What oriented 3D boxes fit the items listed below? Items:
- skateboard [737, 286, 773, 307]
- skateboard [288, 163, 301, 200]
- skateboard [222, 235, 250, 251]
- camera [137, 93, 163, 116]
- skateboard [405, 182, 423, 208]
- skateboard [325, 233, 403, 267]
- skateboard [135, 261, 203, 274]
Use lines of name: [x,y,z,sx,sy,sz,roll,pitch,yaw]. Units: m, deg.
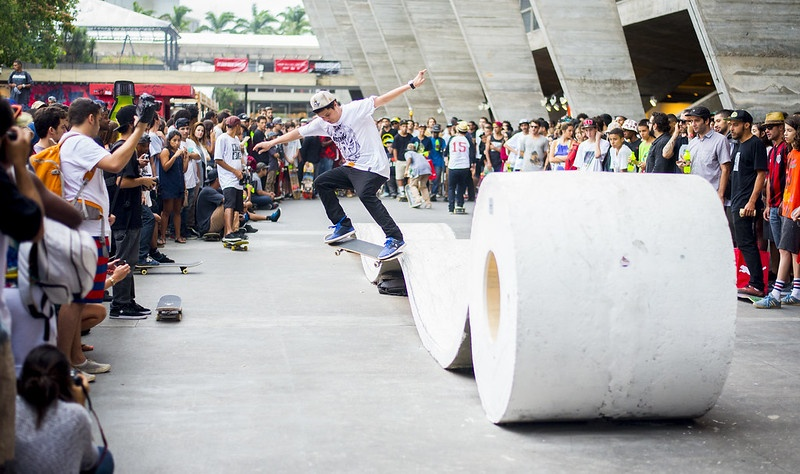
skateboard: [4.836,0.820,11.273,0.451,0.195,0.168,29,-7,9]
skateboard: [-3.133,-1.666,24.437,0.246,1.059,0.155,-17,27,-22]
skateboard: [-2.934,0.104,14.768,0.215,0.261,0.554,-2,4,-32]
camera: [-2.631,-1.428,8.704,0.221,0.217,0.225,-4,25,-42]
skateboard: [0.381,-1.154,21.768,0.349,0.677,0.138,-11,1,35]
skateboard: [-0.540,0.148,11.808,0.401,0.213,1.518,-6,12,-26]
skateboard: [-3.604,0.469,12.710,0.892,0.144,0.219,0,12,-10]
